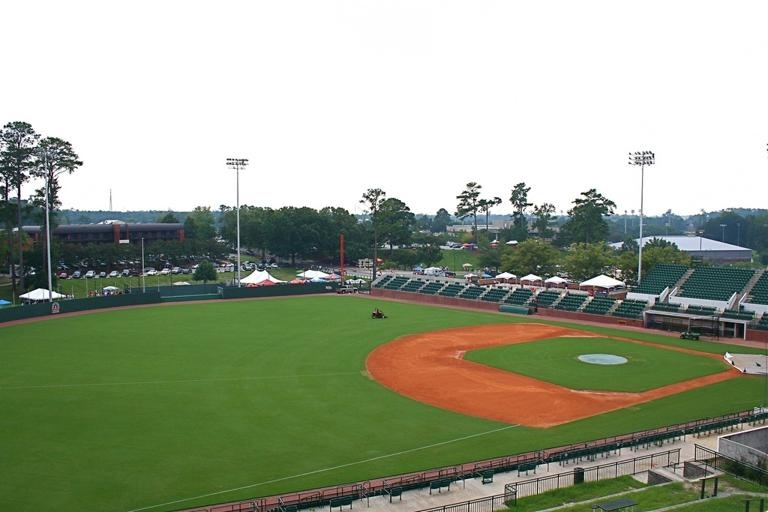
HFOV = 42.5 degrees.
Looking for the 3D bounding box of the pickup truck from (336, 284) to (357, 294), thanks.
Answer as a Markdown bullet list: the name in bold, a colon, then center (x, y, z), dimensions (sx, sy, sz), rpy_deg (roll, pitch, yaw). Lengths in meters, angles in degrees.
- **pickup truck**: center (-5.000, 4.597, 137.959), dimensions (2.075, 0.783, 1.315), rpy_deg (2, -2, -33)
